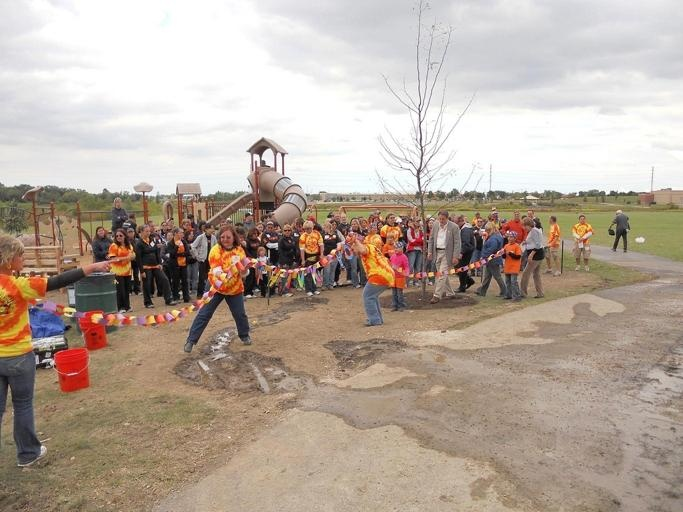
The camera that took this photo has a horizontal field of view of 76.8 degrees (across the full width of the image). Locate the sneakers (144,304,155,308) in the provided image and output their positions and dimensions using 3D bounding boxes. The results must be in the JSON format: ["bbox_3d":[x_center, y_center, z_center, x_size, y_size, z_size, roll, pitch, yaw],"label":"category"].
[{"bbox_3d":[-5.205,1.363,11.641,0.198,0.087,0.218,-6,11,-21],"label":"sneakers"}]

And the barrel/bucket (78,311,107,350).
[{"bbox_3d":[-4.957,1.505,8.558,0.543,0.692,0.529,3,4,0],"label":"barrel/bucket"}]

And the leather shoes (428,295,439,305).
[{"bbox_3d":[2.524,1.159,11.611,0.250,0.220,0.263,-1,11,11],"label":"leather shoes"}]

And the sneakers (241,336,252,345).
[{"bbox_3d":[-1.931,1.709,8.639,0.114,0.116,0.302,0,-11,-36],"label":"sneakers"}]

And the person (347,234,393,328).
[{"bbox_3d":[0.708,0.542,9.826,0.876,2.182,0.813,3,13,27],"label":"person"}]

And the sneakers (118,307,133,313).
[{"bbox_3d":[-5.550,1.411,11.040,0.365,0.145,0.128,-3,-1,21],"label":"sneakers"}]

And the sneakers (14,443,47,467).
[{"bbox_3d":[-3.675,2.379,5.130,0.130,0.140,0.339,7,7,23],"label":"sneakers"}]

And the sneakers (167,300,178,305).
[{"bbox_3d":[-4.720,1.296,12.051,0.213,0.120,0.389,-4,10,-7],"label":"sneakers"}]

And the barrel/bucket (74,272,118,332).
[{"bbox_3d":[-5.301,1.023,9.331,0.909,1.170,0.831,-5,-1,0],"label":"barrel/bucket"}]
